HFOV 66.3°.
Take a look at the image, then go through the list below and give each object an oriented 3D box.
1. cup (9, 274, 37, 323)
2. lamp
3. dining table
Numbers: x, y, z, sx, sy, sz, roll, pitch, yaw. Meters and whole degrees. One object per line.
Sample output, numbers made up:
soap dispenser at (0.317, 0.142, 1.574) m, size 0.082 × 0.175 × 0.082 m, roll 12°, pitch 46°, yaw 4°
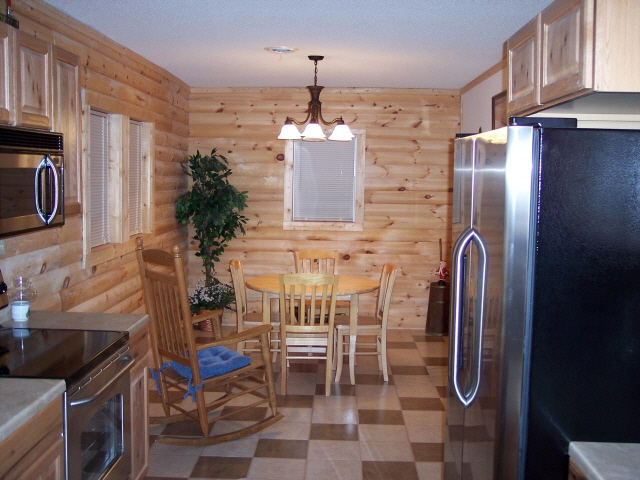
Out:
cup at (-1.731, 0.342, 2.838) m, size 0.118 × 0.237 × 0.234 m, roll -6°, pitch 11°, yaw -39°
lamp at (-0.049, -1.270, 4.448) m, size 0.729 × 0.681 × 0.716 m, roll -2°, pitch 21°, yaw -10°
dining table at (-0.069, 0.908, 4.920) m, size 1.255 × 0.873 × 1.258 m, roll 0°, pitch 3°, yaw 0°
